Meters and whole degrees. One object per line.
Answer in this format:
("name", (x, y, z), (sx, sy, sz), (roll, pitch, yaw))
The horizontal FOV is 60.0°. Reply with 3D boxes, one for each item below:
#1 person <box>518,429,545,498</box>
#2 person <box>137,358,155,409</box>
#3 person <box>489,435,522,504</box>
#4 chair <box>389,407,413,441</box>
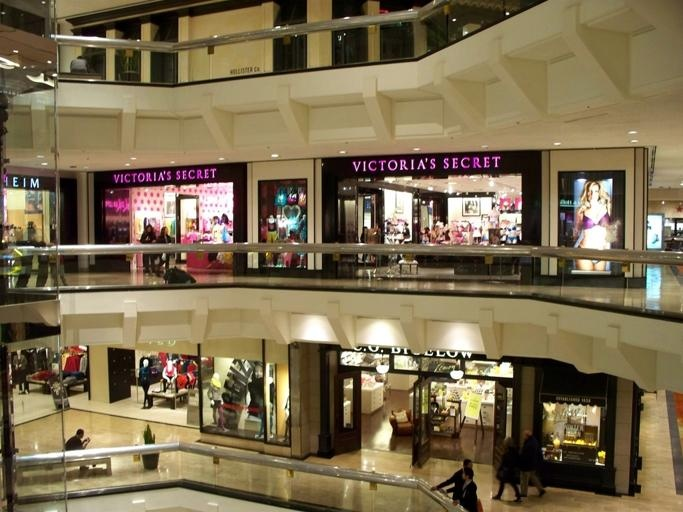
("person", (4.203, 4.552, 13.014), (0.457, 1.498, 0.833), (1, -1, 26))
("person", (-5.927, 3.819, 17.879), (0.429, 1.135, 0.274), (2, -1, -20))
("person", (3.610, 4.623, 12.914), (0.610, 1.317, 0.580), (1, -1, 18))
("chair", (1.635, 4.591, 16.159), (0.590, 0.603, 0.593), (0, -7, -2))
